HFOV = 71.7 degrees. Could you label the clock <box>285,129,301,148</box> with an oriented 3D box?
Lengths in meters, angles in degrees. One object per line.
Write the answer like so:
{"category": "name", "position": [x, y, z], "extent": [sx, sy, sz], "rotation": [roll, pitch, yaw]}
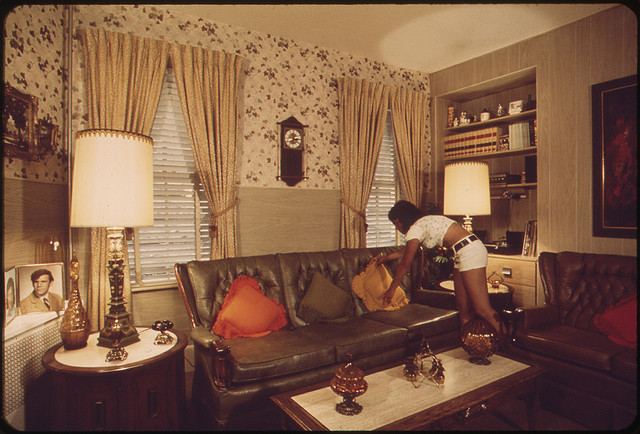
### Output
{"category": "clock", "position": [-0.330, -0.930, 5.199], "extent": [0.230, 0.228, 0.020], "rotation": [-4, 17, -36]}

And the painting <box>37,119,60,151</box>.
{"category": "painting", "position": [-2.372, -0.712, 3.869], "extent": [0.072, 0.294, 0.327], "rotation": [-3, 0, -10]}

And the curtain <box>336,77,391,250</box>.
{"category": "curtain", "position": [0.531, -0.693, 5.641], "extent": [0.778, 2.086, 0.101], "rotation": [-3, 0, -31]}

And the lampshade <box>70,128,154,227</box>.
{"category": "lampshade", "position": [-1.529, -0.266, 3.570], "extent": [0.681, 0.772, 0.695], "rotation": [1, -6, -5]}

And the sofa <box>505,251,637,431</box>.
{"category": "sofa", "position": [2.445, 1.089, 4.611], "extent": [1.420, 1.682, 1.397], "rotation": [4, -6, -34]}

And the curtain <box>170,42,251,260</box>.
{"category": "curtain", "position": [-1.150, -0.682, 4.669], "extent": [0.738, 2.337, 0.099], "rotation": [-3, 0, -30]}

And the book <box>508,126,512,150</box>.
{"category": "book", "position": [2.359, -0.986, 5.481], "extent": [0.030, 0.261, 0.059], "rotation": [-3, 0, 27]}

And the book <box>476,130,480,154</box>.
{"category": "book", "position": [2.079, -0.997, 5.830], "extent": [0.031, 0.265, 0.051], "rotation": [-3, 0, -26]}

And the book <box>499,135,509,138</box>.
{"category": "book", "position": [2.335, -1.030, 5.600], "extent": [0.110, 0.027, 0.038], "rotation": [-3, -1, 45]}

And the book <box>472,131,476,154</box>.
{"category": "book", "position": [2.041, -0.989, 5.868], "extent": [0.054, 0.275, 0.053], "rotation": [-3, 0, -45]}

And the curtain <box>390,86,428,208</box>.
{"category": "curtain", "position": [1.229, -0.941, 6.060], "extent": [0.639, 1.548, 0.130], "rotation": [-3, 0, -35]}

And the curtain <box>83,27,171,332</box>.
{"category": "curtain", "position": [-1.822, -0.525, 4.113], "extent": [0.838, 2.888, 0.280], "rotation": [1, -19, -22]}

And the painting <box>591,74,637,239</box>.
{"category": "painting", "position": [3.066, -0.610, 4.604], "extent": [0.105, 1.449, 0.411], "rotation": [-3, 0, -43]}

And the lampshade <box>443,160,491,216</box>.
{"category": "lampshade", "position": [1.773, -0.324, 5.052], "extent": [0.525, 0.566, 0.517], "rotation": [-4, 6, -36]}

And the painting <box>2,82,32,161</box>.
{"category": "painting", "position": [-2.393, -0.745, 3.490], "extent": [0.076, 0.666, 0.301], "rotation": [-3, 0, 2]}

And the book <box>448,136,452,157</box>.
{"category": "book", "position": [1.813, -0.982, 6.165], "extent": [0.017, 0.266, 0.073], "rotation": [-3, 0, -35]}

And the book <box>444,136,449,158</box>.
{"category": "book", "position": [1.777, -0.981, 6.216], "extent": [0.017, 0.274, 0.082], "rotation": [-3, 0, -18]}

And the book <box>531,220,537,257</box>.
{"category": "book", "position": [2.504, 0.259, 5.173], "extent": [0.089, 0.371, 0.042], "rotation": [-3, 0, -34]}

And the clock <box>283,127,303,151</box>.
{"category": "clock", "position": [-0.332, -0.926, 5.197], "extent": [0.283, 0.268, 0.014], "rotation": [-4, 5, -34]}

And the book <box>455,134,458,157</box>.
{"category": "book", "position": [1.877, -0.983, 6.086], "extent": [0.021, 0.285, 0.048], "rotation": [-3, 0, -33]}

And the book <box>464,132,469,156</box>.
{"category": "book", "position": [1.973, -0.983, 5.959], "extent": [0.066, 0.286, 0.046], "rotation": [-2, 0, 40]}

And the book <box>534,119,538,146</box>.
{"category": "book", "position": [2.555, -1.004, 5.229], "extent": [0.030, 0.278, 0.207], "rotation": [-3, 0, 26]}

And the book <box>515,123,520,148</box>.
{"category": "book", "position": [2.416, -0.999, 5.422], "extent": [0.050, 0.267, 0.043], "rotation": [-2, 0, 40]}

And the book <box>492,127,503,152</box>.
{"category": "book", "position": [2.269, -0.995, 5.645], "extent": [0.136, 0.280, 0.068], "rotation": [-3, 0, 14]}

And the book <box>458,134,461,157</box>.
{"category": "book", "position": [1.905, -0.982, 6.043], "extent": [0.023, 0.280, 0.049], "rotation": [-3, 0, -31]}

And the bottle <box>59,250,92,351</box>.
{"category": "bottle", "position": [-1.911, 0.658, 3.424], "extent": [0.212, 0.829, 0.192], "rotation": [-3, 0, -34]}

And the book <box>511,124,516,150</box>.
{"category": "book", "position": [2.387, -0.996, 5.459], "extent": [0.036, 0.273, 0.057], "rotation": [-3, 0, -33]}

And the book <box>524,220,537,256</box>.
{"category": "book", "position": [2.454, 0.255, 5.213], "extent": [0.076, 0.301, 0.329], "rotation": [5, -9, 26]}
